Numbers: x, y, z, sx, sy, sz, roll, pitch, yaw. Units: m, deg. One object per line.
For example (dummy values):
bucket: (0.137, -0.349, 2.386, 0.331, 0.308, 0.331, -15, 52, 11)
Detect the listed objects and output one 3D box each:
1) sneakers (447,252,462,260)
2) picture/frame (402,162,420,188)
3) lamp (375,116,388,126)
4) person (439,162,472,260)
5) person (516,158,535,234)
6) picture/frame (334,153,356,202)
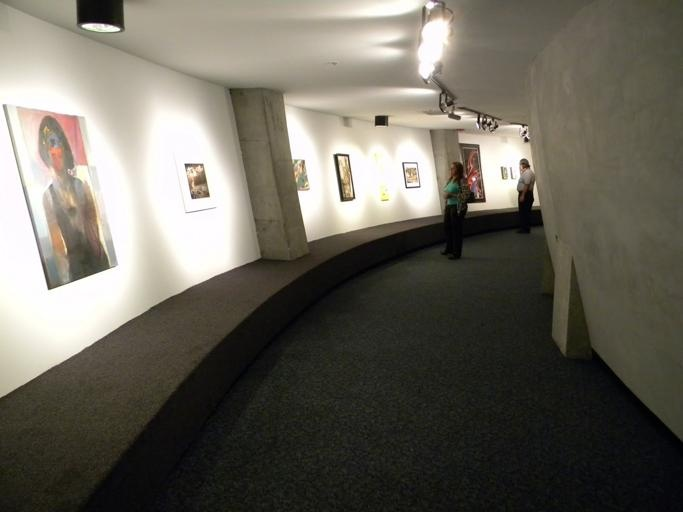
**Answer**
sneakers: (1.833, 0.018, 7.337, 0.203, 0.174, 0.075, 4, 3, 22)
picture/frame: (1.714, -1.960, 11.014, 0.098, 0.660, 0.849, 1, 10, 33)
lamp: (0.782, -2.684, 8.957, 0.179, 0.203, 0.184, -4, 15, -12)
person: (1.787, -0.697, 7.159, 0.394, 1.525, 0.759, -2, 8, 12)
person: (3.977, -1.277, 9.712, 0.316, 1.625, 1.615, -1, 9, 22)
picture/frame: (0.030, -1.493, 8.625, 0.069, 0.765, 0.696, -5, 27, 19)
